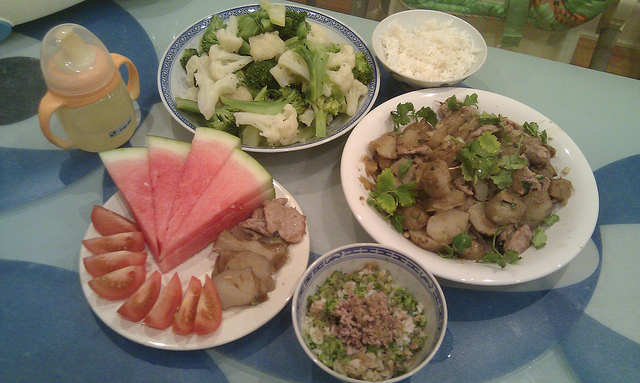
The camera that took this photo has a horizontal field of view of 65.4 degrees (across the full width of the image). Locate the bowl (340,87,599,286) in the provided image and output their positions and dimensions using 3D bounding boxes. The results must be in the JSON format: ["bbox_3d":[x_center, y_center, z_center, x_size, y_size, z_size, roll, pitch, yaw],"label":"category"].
[{"bbox_3d":[0.828,-0.071,2.784,1.412,0.217,1.164,14,73,8],"label":"bowl"}]

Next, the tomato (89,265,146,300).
[{"bbox_3d":[-1.033,0.467,2.642,0.263,0.250,0.163,1,89,0],"label":"tomato"}]

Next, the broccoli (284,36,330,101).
[{"bbox_3d":[-0.054,-0.807,3.114,0.264,0.150,0.404,-22,86,6],"label":"broccoli"}]

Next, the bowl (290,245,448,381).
[{"bbox_3d":[0.249,0.606,2.518,0.750,0.181,0.666,-10,72,0],"label":"bowl"}]

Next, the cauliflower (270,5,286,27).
[{"bbox_3d":[-0.256,-1.106,3.157,0.107,0.043,0.180,-1,58,-3],"label":"cauliflower"}]

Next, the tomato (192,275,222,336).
[{"bbox_3d":[-0.564,0.580,2.557,0.117,0.070,0.281,2,72,5],"label":"tomato"}]

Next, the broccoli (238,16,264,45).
[{"bbox_3d":[-0.450,-1.036,3.208,0.131,0.066,0.178,1,70,1],"label":"broccoli"}]

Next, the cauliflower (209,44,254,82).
[{"bbox_3d":[-0.547,-0.805,3.106,0.256,0.092,0.249,-6,61,-11],"label":"cauliflower"}]

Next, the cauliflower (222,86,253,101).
[{"bbox_3d":[-0.504,-0.615,3.099,0.108,0.034,0.106,22,69,-10],"label":"cauliflower"}]

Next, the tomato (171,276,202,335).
[{"bbox_3d":[-0.672,0.600,2.576,0.158,0.207,0.210,1,88,3],"label":"tomato"}]

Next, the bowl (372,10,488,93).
[{"bbox_3d":[0.725,-0.924,3.229,0.640,0.267,0.626,-1,55,1],"label":"bowl"}]

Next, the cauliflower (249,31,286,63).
[{"bbox_3d":[-0.326,-0.897,3.086,0.192,0.053,0.168,-15,68,-5],"label":"cauliflower"}]

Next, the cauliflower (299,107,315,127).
[{"bbox_3d":[-0.075,-0.461,3.075,0.075,0.045,0.116,22,81,-3],"label":"cauliflower"}]

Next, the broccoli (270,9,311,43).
[{"bbox_3d":[-0.221,-1.059,3.264,0.215,0.152,0.262,-8,34,-43],"label":"broccoli"}]

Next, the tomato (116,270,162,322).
[{"bbox_3d":[-0.931,0.556,2.611,0.165,0.077,0.231,31,68,-17],"label":"tomato"}]

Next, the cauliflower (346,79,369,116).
[{"bbox_3d":[0.218,-0.597,3.134,0.064,0.216,0.209,7,113,20],"label":"cauliflower"}]

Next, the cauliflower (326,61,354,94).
[{"bbox_3d":[0.133,-0.694,3.125,0.186,0.079,0.183,-34,101,-33],"label":"cauliflower"}]

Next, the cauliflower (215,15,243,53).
[{"bbox_3d":[-0.569,-0.983,3.133,0.138,0.232,0.101,3,24,-19],"label":"cauliflower"}]

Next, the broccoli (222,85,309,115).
[{"bbox_3d":[-0.412,-0.631,3.212,0.509,0.237,0.128,10,95,24],"label":"broccoli"}]

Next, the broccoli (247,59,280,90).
[{"bbox_3d":[-0.348,-0.730,3.157,0.178,0.101,0.182,-28,109,17],"label":"broccoli"}]

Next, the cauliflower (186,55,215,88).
[{"bbox_3d":[-0.746,-0.764,3.152,0.219,0.067,0.216,1,77,15],"label":"cauliflower"}]
